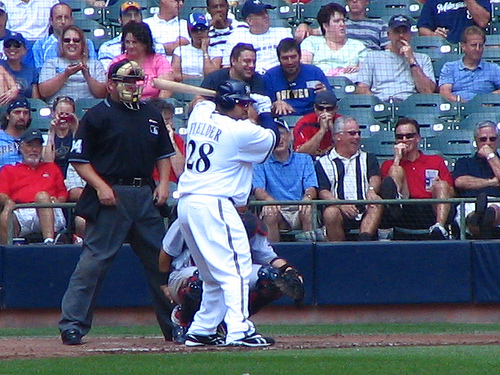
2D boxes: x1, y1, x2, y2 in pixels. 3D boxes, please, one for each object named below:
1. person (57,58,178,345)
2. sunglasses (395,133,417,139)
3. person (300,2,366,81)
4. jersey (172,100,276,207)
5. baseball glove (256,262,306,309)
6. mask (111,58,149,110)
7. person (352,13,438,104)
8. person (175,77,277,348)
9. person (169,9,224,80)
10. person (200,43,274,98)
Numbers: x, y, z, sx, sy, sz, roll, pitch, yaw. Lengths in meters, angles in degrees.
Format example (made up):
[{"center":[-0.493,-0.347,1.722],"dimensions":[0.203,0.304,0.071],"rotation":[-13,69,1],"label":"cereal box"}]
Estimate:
[{"center":[-1.279,0.148,11.151],"dimensions":[1.079,2.740,0.614],"rotation":[0,6,-4],"label":"person"},{"center":[1.728,-0.574,12.940],"dimensions":[0.231,0.063,0.076],"rotation":[1,5,10],"label":"sunglasses"},{"center":[1.055,-1.810,14.587],"dimensions":[1.261,0.993,0.650],"rotation":[-3,9,-16],"label":"person"},{"center":[-0.243,-0.298,10.780],"dimensions":[0.815,0.952,0.636],"rotation":[-4,14,-18],"label":"jersey"},{"center":[0.299,0.881,10.900],"dimensions":[0.490,0.182,0.360],"rotation":[32,2,6],"label":"baseball glove"},{"center":[-1.200,-0.994,11.262],"dimensions":[0.386,0.448,0.365],"rotation":[1,3,37],"label":"mask"},{"center":[1.803,-1.535,14.345],"dimensions":[1.029,1.156,0.699],"rotation":[-5,17,-9],"label":"person"},{"center":[-0.237,0.254,10.817],"dimensions":[0.906,2.519,0.591],"rotation":[0,6,-2],"label":"person"},{"center":[-0.676,-1.769,14.423],"dimensions":[0.827,1.120,0.898],"rotation":[-1,0,-8],"label":"person"},{"center":[-0.205,-1.221,12.619],"dimensions":[0.832,0.651,0.453],"rotation":[3,6,-31],"label":"person"}]
